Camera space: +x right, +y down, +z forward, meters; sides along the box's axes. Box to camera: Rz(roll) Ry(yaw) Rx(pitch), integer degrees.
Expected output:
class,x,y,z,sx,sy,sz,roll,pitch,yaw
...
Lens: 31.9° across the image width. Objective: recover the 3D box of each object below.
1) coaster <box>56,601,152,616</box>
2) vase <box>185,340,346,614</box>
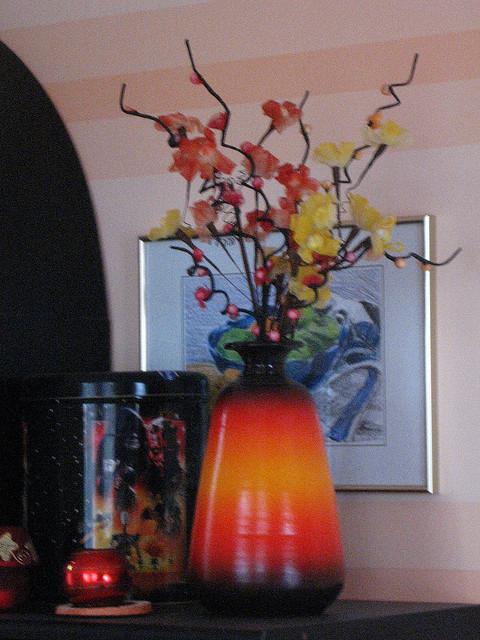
class,x,y,z,sx,sy,sz,roll,pitch,yaw
coaster,-0.140,0.300,0.865,0.095,0.011,0.044,0,-8,-10
vase,0.024,0.164,0.885,0.160,0.283,0.056,-1,-10,-3
